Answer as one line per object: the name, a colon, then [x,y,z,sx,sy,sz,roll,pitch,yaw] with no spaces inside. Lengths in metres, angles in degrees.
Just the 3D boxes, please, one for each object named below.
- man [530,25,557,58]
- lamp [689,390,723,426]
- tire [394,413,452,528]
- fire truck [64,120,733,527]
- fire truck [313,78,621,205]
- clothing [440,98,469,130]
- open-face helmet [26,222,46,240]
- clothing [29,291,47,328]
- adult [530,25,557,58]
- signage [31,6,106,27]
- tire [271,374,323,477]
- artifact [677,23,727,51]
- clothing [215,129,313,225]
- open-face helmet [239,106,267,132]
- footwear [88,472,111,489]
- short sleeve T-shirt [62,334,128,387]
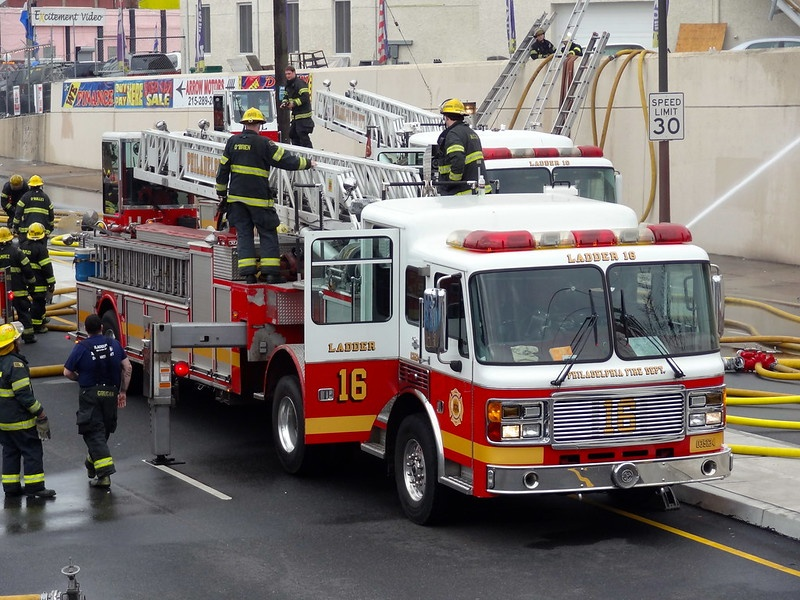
man: [3.050,-5.513,25.771,0.484,0.631,0.265,-11,18,2]
lamp: [2.804,0.968,10.946,0.321,0.251,0.324,0,-2,-11]
tire: [0.251,1.596,11.211,0.305,1.091,0.926,0,9,-31]
fire truck: [-0.289,0.124,13.011,3.577,2.289,6.614,-1,5,-30]
fire truck: [0.333,-2.701,19.958,2.298,1.810,8.674,-1,11,-30]
clothing: [0.701,-2.269,14.519,0.386,0.456,0.440,-3,14,-22]
open-face helmet: [-5.760,-1.092,19.083,0.226,0.170,0.300,-2,18,-6]
clothing: [-5.844,0.206,19.480,0.114,0.431,0.149,6,-3,34]
adult: [3.045,-5.512,25.764,0.484,0.631,0.265,-11,18,2]
signage: [-13.079,-11.125,47.196,2.163,0.515,2.037,-3,8,-28]
tire: [-1.021,1.289,12.371,0.290,0.856,0.780,-7,30,-28]
artifact: [6.901,-5.971,27.272,1.095,0.566,0.707,2,15,14]
clothing: [-1.625,-1.421,14.335,1.299,1.057,0.491,7,9,19]
open-face helmet: [-1.750,-2.213,14.420,0.330,0.220,0.413,0,1,-1]
footwear: [-3.097,1.860,12.450,0.097,0.131,0.273,-3,11,-37]
short sleeve T-shirt: [-3.260,0.646,12.688,0.391,0.620,0.733,7,-13,-32]
